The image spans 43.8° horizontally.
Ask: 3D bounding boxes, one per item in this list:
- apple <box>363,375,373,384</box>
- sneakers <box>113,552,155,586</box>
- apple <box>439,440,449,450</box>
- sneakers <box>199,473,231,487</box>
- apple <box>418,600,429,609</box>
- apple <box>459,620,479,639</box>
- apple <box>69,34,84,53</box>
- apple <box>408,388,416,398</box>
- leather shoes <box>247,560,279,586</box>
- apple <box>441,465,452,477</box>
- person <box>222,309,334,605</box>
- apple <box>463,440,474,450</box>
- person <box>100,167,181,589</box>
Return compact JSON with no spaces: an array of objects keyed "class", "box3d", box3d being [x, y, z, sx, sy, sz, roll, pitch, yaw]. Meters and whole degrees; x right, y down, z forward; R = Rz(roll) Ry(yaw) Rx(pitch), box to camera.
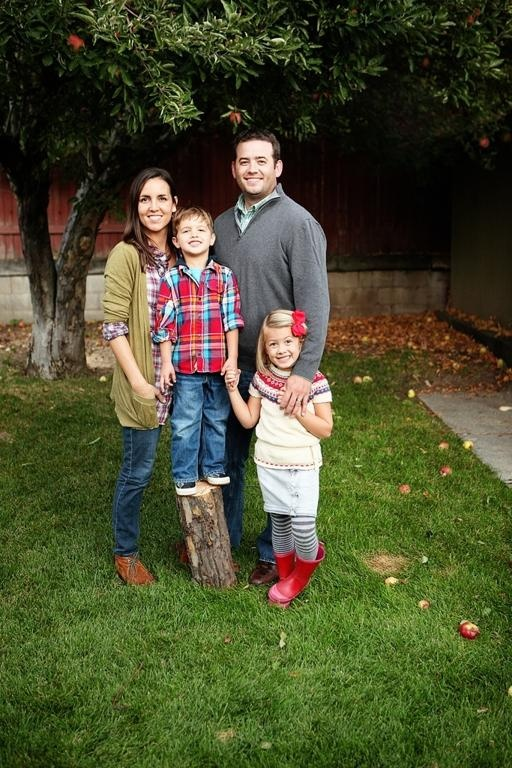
[{"class":"apple","box3d":[1.241,-0.052,7.114,0.091,0.034,0.091,0,13,-3]},{"class":"sneakers","box3d":[-0.569,0.864,2.999,0.102,0.078,0.196,-8,13,-43]},{"class":"apple","box3d":[1.465,0.482,4.975,0.052,0.034,0.061,1,13,6]},{"class":"sneakers","box3d":[-0.183,0.445,2.949,0.135,0.053,0.052,-4,-2,45]},{"class":"apple","box3d":[0.736,0.970,2.803,0.048,0.022,0.059,3,10,15]},{"class":"apple","box3d":[0.856,0.998,2.580,0.072,0.041,0.083,-7,12,-34]},{"class":"apple","box3d":[-0.824,-1.558,2.922,0.055,0.072,0.028,-2,17,-26]},{"class":"apple","box3d":[1.611,0.098,6.598,0.047,0.084,0.084,5,-16,-37]},{"class":"leather shoes","box3d":[0.037,0.909,3.042,0.100,0.101,0.273,0,-10,7]},{"class":"apple","box3d":[1.322,0.613,4.435,0.061,0.058,0.057,-1,-5,-14]},{"class":"person","box3d":[0.102,0.332,2.748,0.463,1.295,0.298,4,10,20]},{"class":"apple","box3d":[1.669,0.483,4.997,0.056,0.062,0.074,-10,-21,18]},{"class":"person","box3d":[-0.512,0.003,2.891,0.326,1.907,0.335,-1,10,-8]}]
